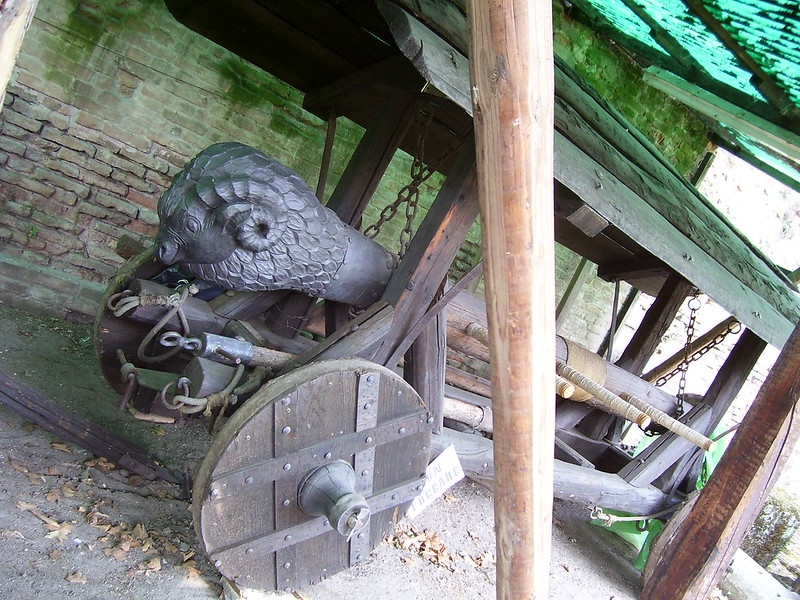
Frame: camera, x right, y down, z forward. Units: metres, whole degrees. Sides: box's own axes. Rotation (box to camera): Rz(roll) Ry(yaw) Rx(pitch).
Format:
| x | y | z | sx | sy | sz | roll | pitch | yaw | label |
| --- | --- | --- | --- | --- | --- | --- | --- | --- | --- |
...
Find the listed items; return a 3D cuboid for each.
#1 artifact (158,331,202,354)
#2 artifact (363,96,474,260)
| x | y | z | sx | sy | sz | roll | pitch | yaw | label |
| --- | --- | --- | --- | --- | --- | --- | --- | --- | --- |
| -1.195 | 0.230 | 3.157 | 0.197 | 0.136 | 0.039 | 20 | -7 | 7 | artifact |
| 0.105 | -0.906 | 4.103 | 0.215 | 1.894 | 0.233 | -20 | -53 | 45 | artifact |
